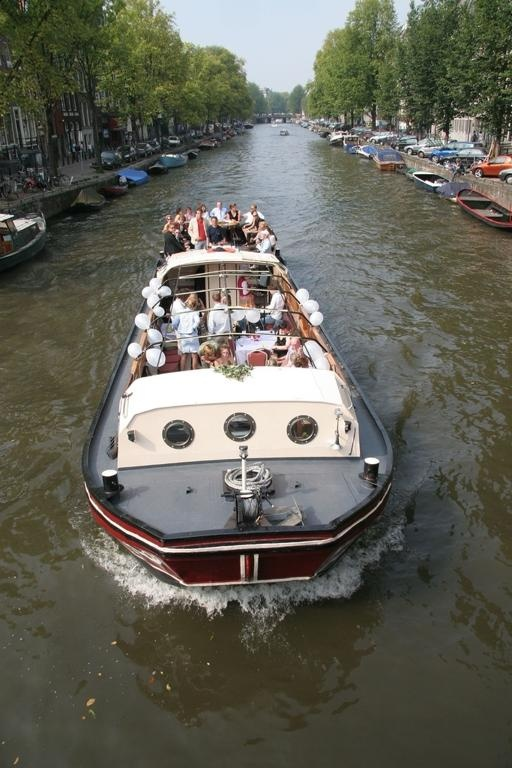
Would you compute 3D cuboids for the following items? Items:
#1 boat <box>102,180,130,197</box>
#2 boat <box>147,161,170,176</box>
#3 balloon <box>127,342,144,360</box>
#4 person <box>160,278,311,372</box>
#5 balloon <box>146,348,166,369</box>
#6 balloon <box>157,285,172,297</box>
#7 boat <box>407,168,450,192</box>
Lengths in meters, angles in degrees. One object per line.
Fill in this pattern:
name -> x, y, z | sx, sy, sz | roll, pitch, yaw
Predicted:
boat -> -9.681, -13.831, 38.492 | 1.043, 0.749, 2.916 | 5, 42, -1
boat -> -8.929, -19.613, 49.925 | 0.934, 1.320, 2.862 | -22, 28, 6
balloon -> -1.822, -0.523, 8.339 | 0.270, 0.277, 0.322 | 11, 10, -8
person -> -0.410, -0.882, 9.405 | 1.548, 0.779, 2.684 | -2, 26, -1
balloon -> -1.456, -0.396, 7.667 | 0.094, 0.287, 0.283 | -6, -22, 40
balloon -> -1.756, -1.834, 10.638 | 0.214, 0.214, 0.289 | 37, -2, -29
boat -> 11.573, -13.610, 36.919 | 1.406, 0.676, 3.709 | -12, 38, -2
